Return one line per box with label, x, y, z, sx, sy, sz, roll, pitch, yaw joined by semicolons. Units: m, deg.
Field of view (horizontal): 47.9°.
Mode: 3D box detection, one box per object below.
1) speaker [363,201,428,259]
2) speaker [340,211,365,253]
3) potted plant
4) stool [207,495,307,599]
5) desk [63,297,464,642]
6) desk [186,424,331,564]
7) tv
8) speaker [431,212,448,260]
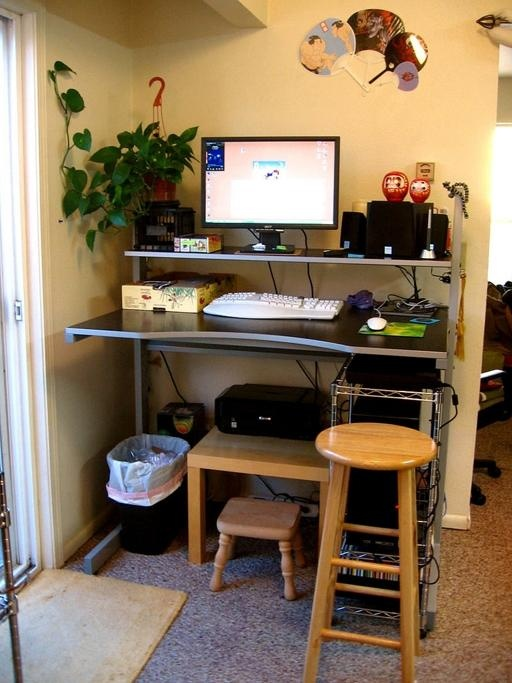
speaker;0.451;-0.391;2.026;0.267;0.260;0.189;4;18;13
speaker;0.358;-0.398;2.111;0.078;0.151;0.180;0;9;-4
potted plant;-0.529;-0.681;2.257;0.560;0.637;0.504;-3;10;-24
stool;0.004;0.706;2.058;0.297;0.232;0.297;1;5;11
desk;0.013;0.448;1.975;1.030;0.741;0.468;2;12;17
desk;0.028;0.615;2.328;0.590;0.487;0.431;2;12;9
tv;0.053;-0.564;2.149;0.506;0.368;0.151;2;12;10
speaker;0.639;-0.369;2.015;0.053;0.158;0.210;4;9;20
